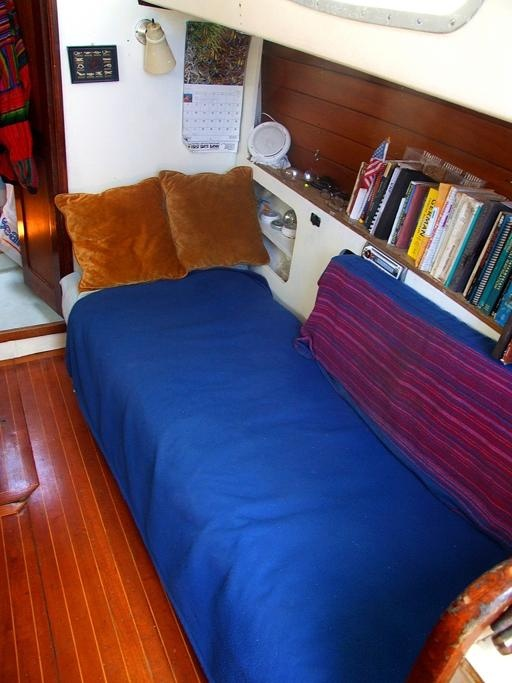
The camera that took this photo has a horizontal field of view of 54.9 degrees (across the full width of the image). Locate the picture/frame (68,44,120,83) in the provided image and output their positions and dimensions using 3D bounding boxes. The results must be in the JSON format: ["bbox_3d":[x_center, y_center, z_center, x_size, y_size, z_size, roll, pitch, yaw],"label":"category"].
[{"bbox_3d":[-0.688,-1.169,2.061,0.181,0.121,0.014,-24,47,-32],"label":"picture/frame"}]

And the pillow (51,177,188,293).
[{"bbox_3d":[-0.546,-0.537,2.269,0.524,0.518,0.135,23,7,15],"label":"pillow"}]

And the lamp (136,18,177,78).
[{"bbox_3d":[-0.439,-1.267,2.096,0.129,0.214,0.107,18,68,0],"label":"lamp"}]
